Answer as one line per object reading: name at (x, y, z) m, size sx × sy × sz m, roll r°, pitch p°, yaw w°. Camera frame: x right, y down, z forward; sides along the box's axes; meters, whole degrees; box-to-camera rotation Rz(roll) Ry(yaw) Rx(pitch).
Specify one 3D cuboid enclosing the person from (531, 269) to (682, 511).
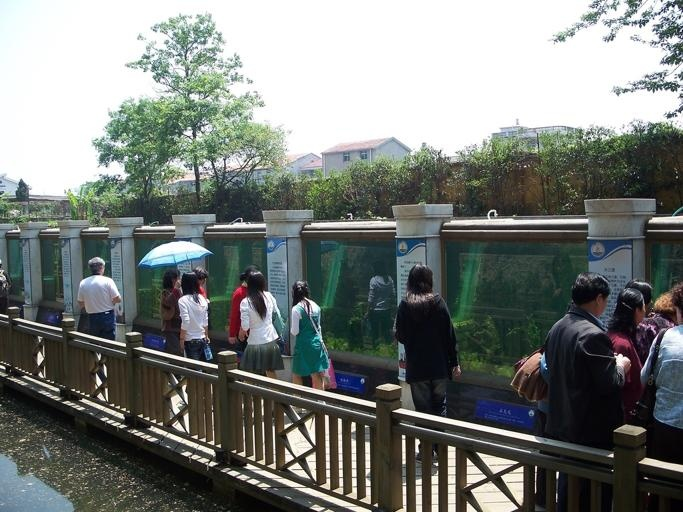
person at (2.009, 1.233, 5.278) m, size 0.831 × 2.161 × 0.967 m, roll 1°, pitch 5°, yaw 26°

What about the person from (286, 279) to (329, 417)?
person at (-0.409, 1.048, 8.431) m, size 0.482 × 1.431 × 0.301 m, roll -2°, pitch 4°, yaw -4°

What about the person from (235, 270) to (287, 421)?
person at (-1.097, 0.919, 8.668) m, size 0.561 × 1.474 × 0.646 m, roll -2°, pitch 5°, yaw -10°

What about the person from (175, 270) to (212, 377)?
person at (-2.037, 0.868, 8.877) m, size 0.403 × 1.275 × 0.428 m, roll -3°, pitch 5°, yaw -16°

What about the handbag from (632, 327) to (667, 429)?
handbag at (2.545, 1.030, 5.277) m, size 0.114 × 0.386 × 0.717 m, roll 3°, pitch 29°, yaw 28°

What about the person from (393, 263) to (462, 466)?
person at (0.947, 0.929, 7.083) m, size 0.694 × 1.677 × 0.271 m, roll -1°, pitch 4°, yaw 7°
